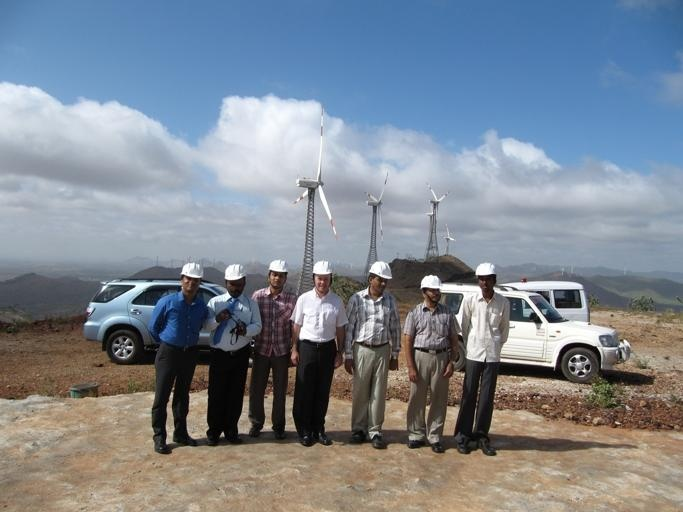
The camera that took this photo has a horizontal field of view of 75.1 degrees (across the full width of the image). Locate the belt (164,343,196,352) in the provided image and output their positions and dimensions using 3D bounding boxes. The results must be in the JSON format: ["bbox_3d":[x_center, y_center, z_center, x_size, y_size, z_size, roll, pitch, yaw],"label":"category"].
[{"bbox_3d":[-2.365,1.368,6.546,0.205,0.058,0.222,11,0,17],"label":"belt"}]

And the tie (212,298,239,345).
[{"bbox_3d":[-1.797,1.032,6.731,0.217,0.783,0.064,22,-8,15],"label":"tie"}]

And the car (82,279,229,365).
[{"bbox_3d":[-4.557,1.608,13.015,4.785,2.133,2.345,-2,-1,-8],"label":"car"}]

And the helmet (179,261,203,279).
[{"bbox_3d":[-2.119,0.221,6.300,0.310,0.239,0.443,6,-11,-11],"label":"helmet"}]

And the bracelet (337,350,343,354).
[{"bbox_3d":[-0.027,1.561,7.213,0.056,0.060,0.057,0,-6,-12],"label":"bracelet"}]

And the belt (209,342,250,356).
[{"bbox_3d":[-1.683,1.358,6.733,0.563,0.215,0.151,3,0,-19],"label":"belt"}]

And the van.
[{"bbox_3d":[7.055,1.512,15.248,2.464,1.504,1.506,1,-3,5],"label":"van"}]

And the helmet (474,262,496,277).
[{"bbox_3d":[2.050,0.220,6.307,0.269,0.213,0.394,0,-7,16],"label":"helmet"}]

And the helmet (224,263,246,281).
[{"bbox_3d":[-1.552,0.269,6.476,0.331,0.279,0.495,0,-6,-3],"label":"helmet"}]

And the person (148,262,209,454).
[{"bbox_3d":[-2.435,1.469,6.589,0.811,2.866,0.445,3,0,-25],"label":"person"}]

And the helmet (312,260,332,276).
[{"bbox_3d":[-0.311,0.219,6.889,0.312,0.257,0.456,1,-4,-1],"label":"helmet"}]

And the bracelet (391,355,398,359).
[{"bbox_3d":[0.840,1.640,7.097,0.071,0.055,0.068,2,-5,-7],"label":"bracelet"}]

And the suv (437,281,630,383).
[{"bbox_3d":[5.671,2.290,12.771,5.846,2.615,2.825,-2,-3,10],"label":"suv"}]

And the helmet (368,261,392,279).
[{"bbox_3d":[0.624,0.245,6.871,0.376,0.312,0.525,8,-3,-11],"label":"helmet"}]

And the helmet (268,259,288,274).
[{"bbox_3d":[-0.904,0.183,6.276,0.240,0.186,0.349,2,-6,-2],"label":"helmet"}]

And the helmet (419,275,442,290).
[{"bbox_3d":[1.394,0.433,7.079,0.214,0.169,0.301,3,-6,-20],"label":"helmet"}]
